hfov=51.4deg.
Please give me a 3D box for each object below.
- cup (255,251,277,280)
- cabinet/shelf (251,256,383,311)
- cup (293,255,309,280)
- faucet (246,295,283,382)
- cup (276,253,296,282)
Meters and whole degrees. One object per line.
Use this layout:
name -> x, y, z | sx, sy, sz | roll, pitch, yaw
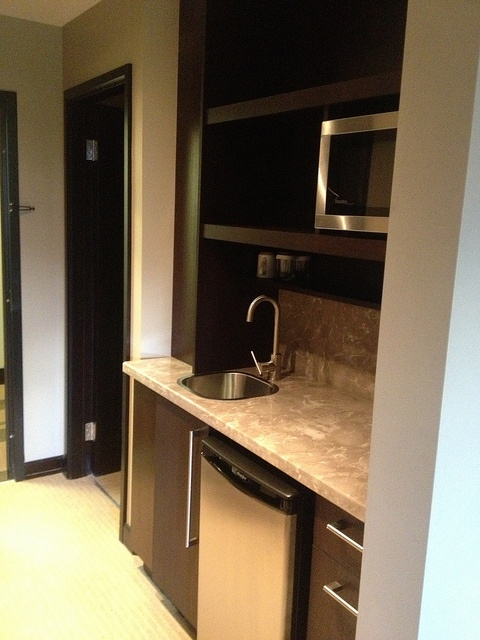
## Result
cup -> 0.114, -0.222, 2.087 | 0.075, 0.116, 0.077 | 3, 17, -1
cabinet/shelf -> 0.303, -0.162, 1.829 | 0.235, 0.146, 0.615 | -4, 10, -38
cup -> 0.246, -0.208, 2.006 | 0.052, 0.107, 0.070 | 1, 16, 1
faucet -> 0.101, 0.072, 1.968 | 0.127, 0.413, 0.076 | 3, 39, 4
cup -> 0.185, -0.209, 2.045 | 0.064, 0.113, 0.082 | -5, 19, -17
